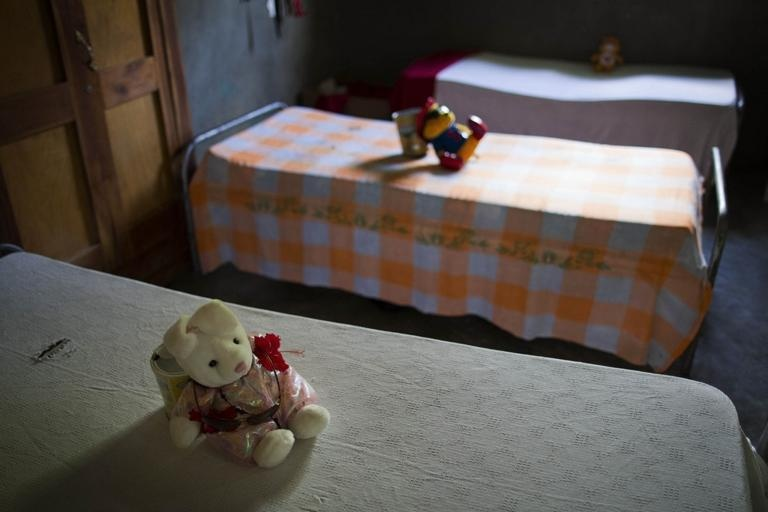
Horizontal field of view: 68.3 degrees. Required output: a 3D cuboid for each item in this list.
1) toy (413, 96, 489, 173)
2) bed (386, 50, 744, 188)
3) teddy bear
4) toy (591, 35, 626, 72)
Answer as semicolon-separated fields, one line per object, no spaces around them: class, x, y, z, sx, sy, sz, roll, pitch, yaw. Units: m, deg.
toy;0.314;-0.593;2.734;0.396;0.433;0.254;5;21;14
bed;1.221;-0.844;3.894;1.825;0.467;1.075;9;44;15
teddy bear;-0.369;0.355;1.518;0.222;0.278;0.275;10;50;35
toy;1.593;-1.449;4.072;0.210;0.310;0.096;16;-2;23
